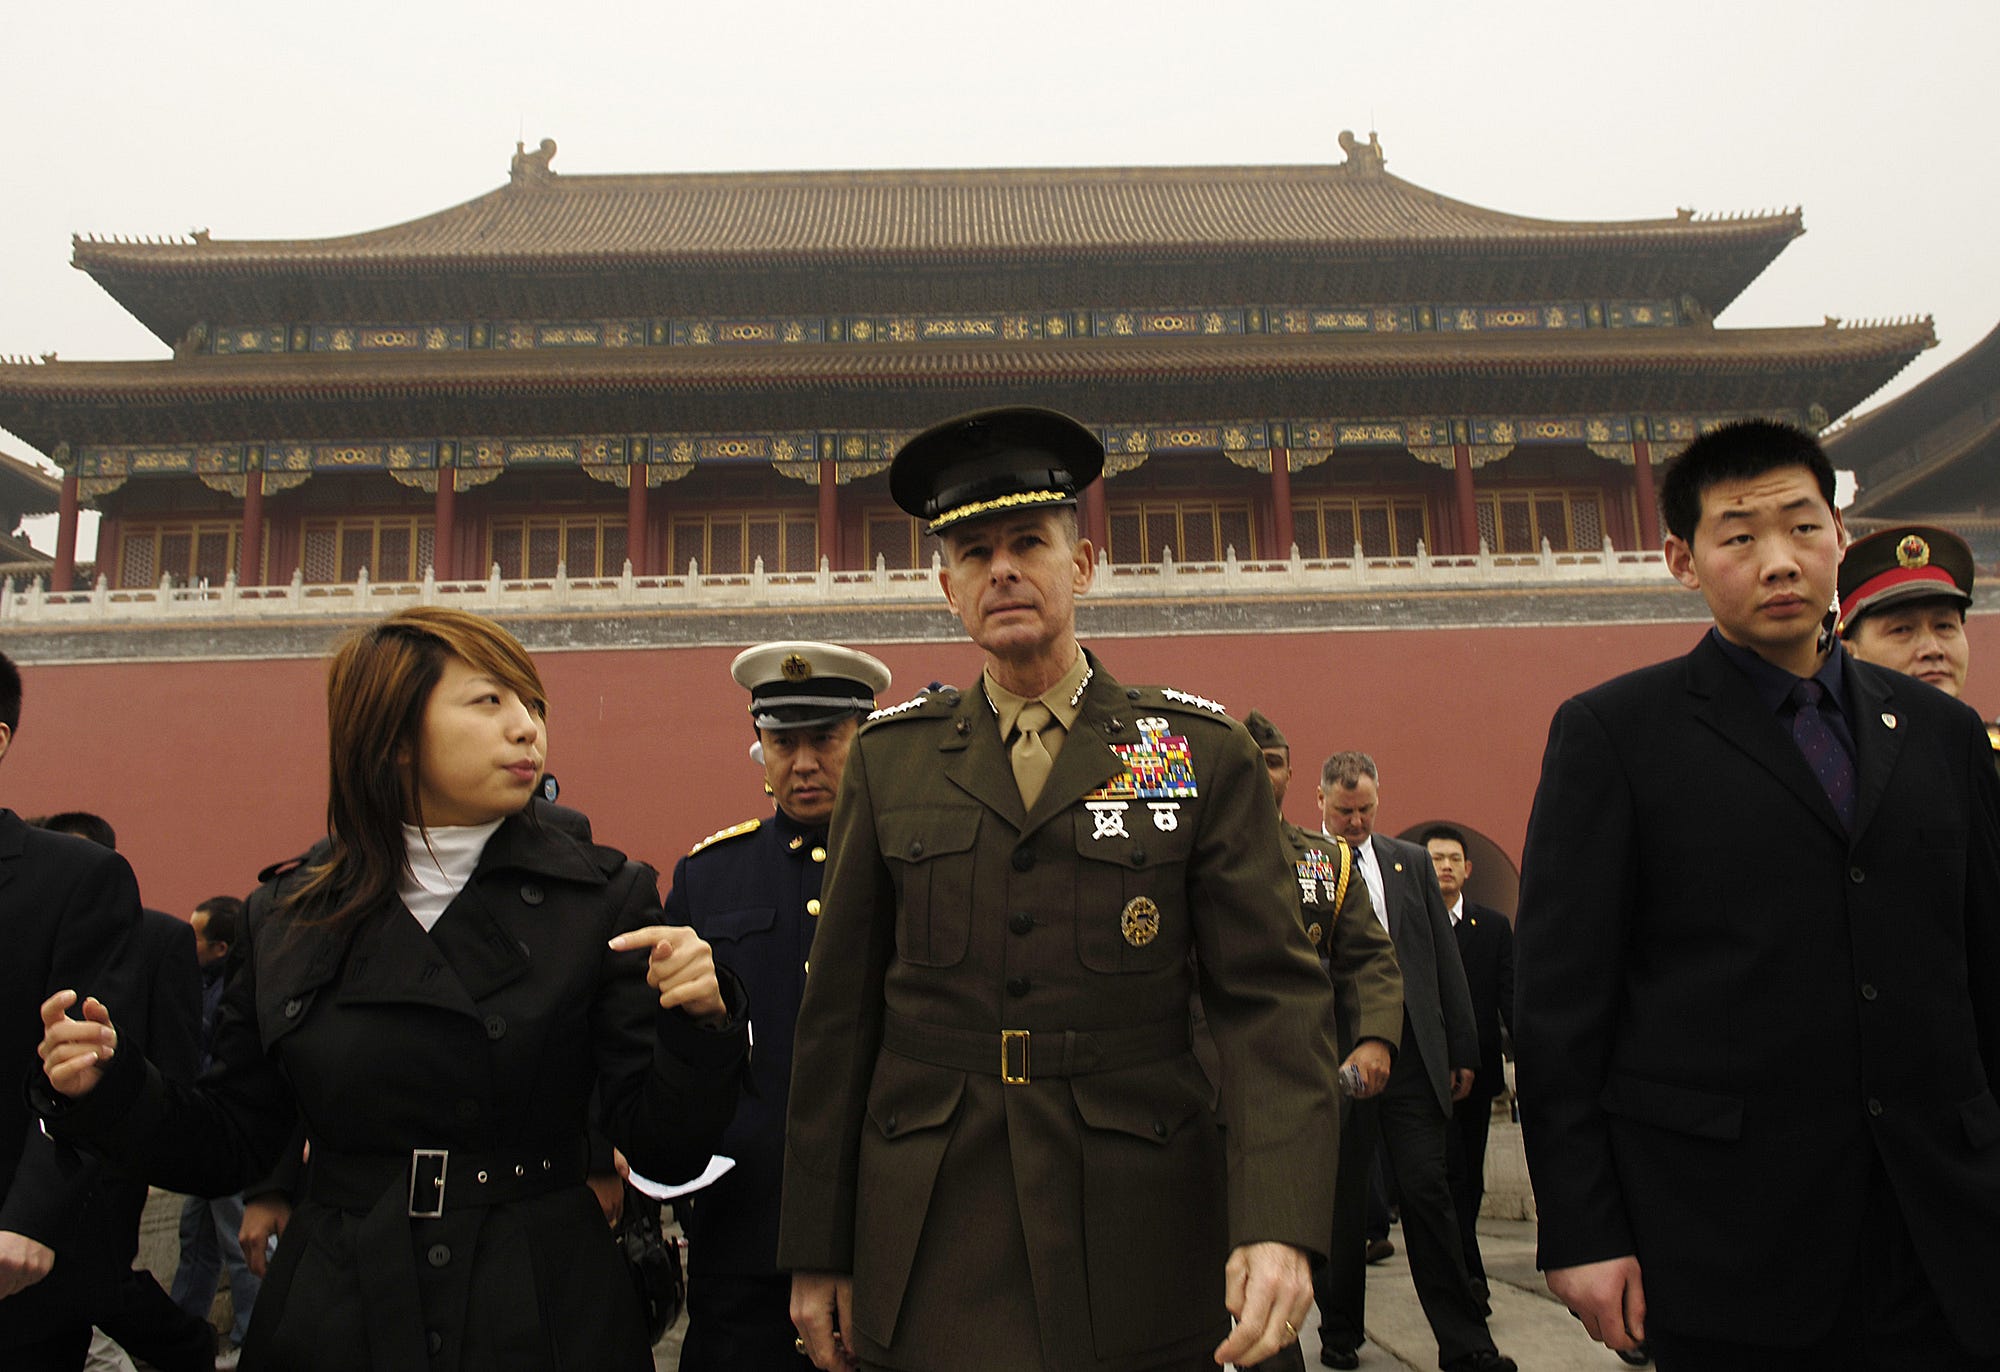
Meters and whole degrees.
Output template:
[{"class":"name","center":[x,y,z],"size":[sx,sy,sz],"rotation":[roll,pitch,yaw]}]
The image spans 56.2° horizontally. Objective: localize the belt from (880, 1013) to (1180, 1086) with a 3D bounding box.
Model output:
[{"class":"belt","center":[0.087,0.842,4.272],"size":[0.671,0.139,0.175],"rotation":[0,-14,-8]}]

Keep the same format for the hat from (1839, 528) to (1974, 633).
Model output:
[{"class":"hat","center":[2.570,-0.338,5.347],"size":[0.313,0.178,0.366],"rotation":[1,-26,14]}]

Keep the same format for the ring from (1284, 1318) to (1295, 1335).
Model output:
[{"class":"ring","center":[0.619,1.371,4.003],"size":[0.016,0.016,0.051],"rotation":[-8,-15,22]}]
